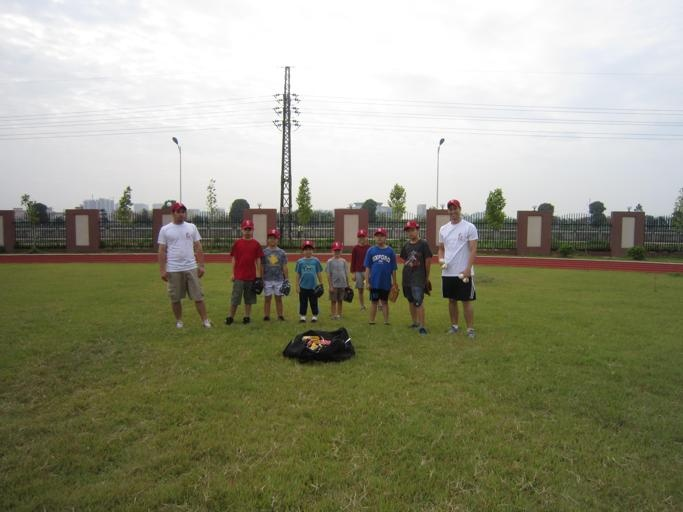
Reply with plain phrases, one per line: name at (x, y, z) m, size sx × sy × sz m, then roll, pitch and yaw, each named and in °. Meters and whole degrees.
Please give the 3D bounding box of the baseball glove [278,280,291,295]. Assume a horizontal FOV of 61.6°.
baseball glove at (-1.024, 0.602, 10.257) m, size 0.168 × 0.264 × 0.241 m, roll -7°, pitch -18°, yaw 21°

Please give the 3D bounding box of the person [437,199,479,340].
person at (1.894, 0.208, 9.328) m, size 0.603 × 2.203 × 1.505 m, roll 1°, pitch 6°, yaw 11°

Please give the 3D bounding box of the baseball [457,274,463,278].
baseball at (1.892, 0.316, 9.057) m, size 0.053 × 0.074 × 0.166 m, roll 0°, pitch 6°, yaw 2°

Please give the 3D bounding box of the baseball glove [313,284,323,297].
baseball glove at (-0.399, 0.661, 10.225) m, size 0.127 × 0.201 × 0.194 m, roll 18°, pitch 12°, yaw -7°

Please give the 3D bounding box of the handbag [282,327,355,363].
handbag at (-0.322, 1.288, 8.151) m, size 1.030 × 0.308 × 0.614 m, roll 0°, pitch 6°, yaw -4°

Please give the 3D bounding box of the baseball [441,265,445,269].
baseball at (1.657, 0.192, 9.281) m, size 0.018 × 0.054 × 0.050 m, roll 3°, pitch -10°, yaw -19°

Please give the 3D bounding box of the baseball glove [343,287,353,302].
baseball glove at (0.115, 0.711, 10.408) m, size 0.142 × 0.315 × 0.204 m, roll -14°, pitch 15°, yaw -34°

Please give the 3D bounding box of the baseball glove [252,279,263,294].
baseball glove at (-1.434, 0.514, 9.905) m, size 0.175 × 0.403 × 0.254 m, roll -2°, pitch 4°, yaw -18°

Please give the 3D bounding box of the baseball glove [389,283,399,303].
baseball glove at (0.911, 0.673, 10.030) m, size 0.137 × 0.364 × 0.475 m, roll 1°, pitch 6°, yaw 5°

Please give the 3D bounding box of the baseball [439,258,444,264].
baseball at (1.619, 0.088, 9.295) m, size 0.056 × 0.090 × 0.082 m, roll -5°, pitch -19°, yaw 7°
